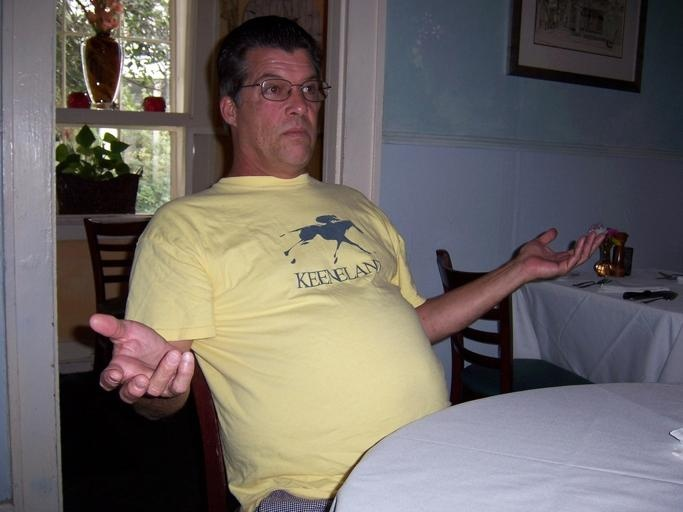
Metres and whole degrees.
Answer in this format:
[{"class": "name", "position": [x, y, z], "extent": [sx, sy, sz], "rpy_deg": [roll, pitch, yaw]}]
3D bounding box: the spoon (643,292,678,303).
[{"class": "spoon", "position": [1.218, 0.157, 2.292], "extent": [0.225, 0.024, 0.048], "rpy_deg": [-4, 12, -29]}]

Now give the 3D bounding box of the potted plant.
[{"class": "potted plant", "position": [-1.595, -0.445, 4.001], "extent": [0.672, 0.474, 0.584], "rpy_deg": [3, -4, -17]}]
